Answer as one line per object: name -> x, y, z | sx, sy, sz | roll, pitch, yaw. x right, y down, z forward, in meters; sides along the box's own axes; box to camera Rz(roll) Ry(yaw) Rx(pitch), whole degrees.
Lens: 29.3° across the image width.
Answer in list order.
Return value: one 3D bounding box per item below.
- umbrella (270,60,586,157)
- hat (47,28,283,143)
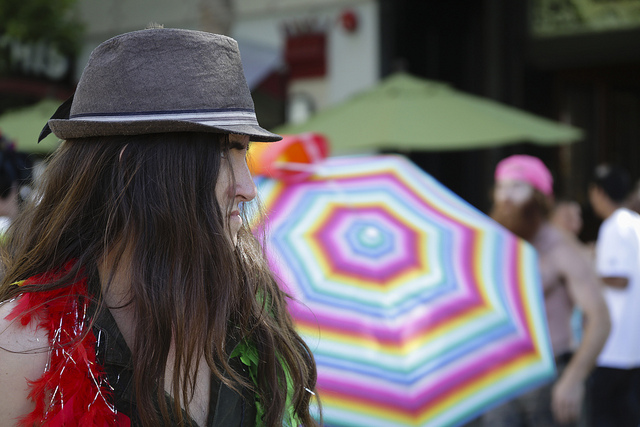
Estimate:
umbrella -> 0.768, -0.743, 8.556 | 1.825, 0.667, 0.915 | 0, 2, -1
hat -> -0.789, -0.580, 6.092 | 0.718, 0.308, 0.595 | -4, 1, 16
